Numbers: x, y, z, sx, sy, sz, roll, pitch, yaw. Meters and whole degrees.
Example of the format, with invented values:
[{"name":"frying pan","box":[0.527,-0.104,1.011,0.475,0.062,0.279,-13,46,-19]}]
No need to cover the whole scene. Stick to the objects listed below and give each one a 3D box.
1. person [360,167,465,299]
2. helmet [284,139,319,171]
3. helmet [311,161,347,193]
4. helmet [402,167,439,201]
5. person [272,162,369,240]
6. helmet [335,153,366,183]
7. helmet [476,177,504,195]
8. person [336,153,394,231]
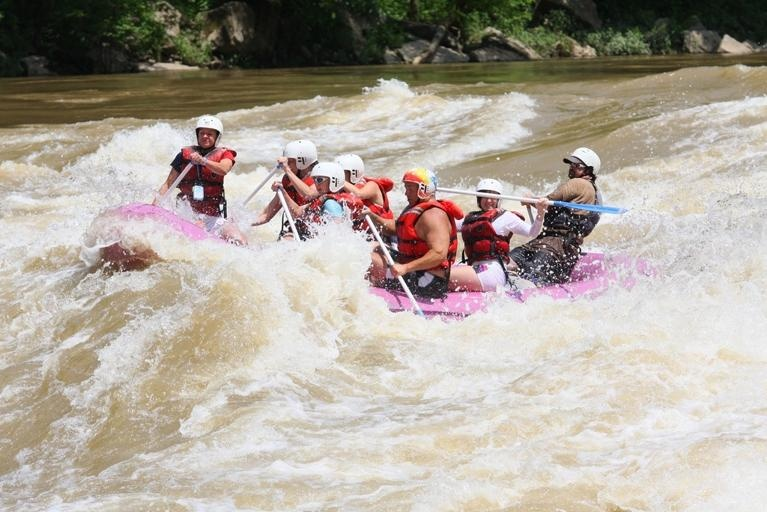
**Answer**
[{"name":"person","box":[0.514,-0.251,10.459,0.931,1.546,0.584,-8,17,5]},{"name":"helmet","box":[-1.104,-1.378,11.660,0.458,0.356,0.325,4,5,-6]},{"name":"helmet","box":[-0.690,-1.016,10.834,0.429,0.314,0.323,-1,2,-13]},{"name":"helmet","box":[0.484,-0.892,10.564,0.436,0.321,0.330,1,-1,-9]},{"name":"person","box":[-0.757,-0.774,11.574,1.174,1.671,0.945,-2,8,-17]},{"name":"helmet","box":[-0.383,-1.150,11.385,0.425,0.329,0.321,1,4,-21]},{"name":"helmet","box":[1.386,-0.965,11.189,0.227,0.291,0.222,2,-7,10]},{"name":"person","box":[-0.243,-0.923,11.151,0.938,1.337,0.616,4,9,1]}]
